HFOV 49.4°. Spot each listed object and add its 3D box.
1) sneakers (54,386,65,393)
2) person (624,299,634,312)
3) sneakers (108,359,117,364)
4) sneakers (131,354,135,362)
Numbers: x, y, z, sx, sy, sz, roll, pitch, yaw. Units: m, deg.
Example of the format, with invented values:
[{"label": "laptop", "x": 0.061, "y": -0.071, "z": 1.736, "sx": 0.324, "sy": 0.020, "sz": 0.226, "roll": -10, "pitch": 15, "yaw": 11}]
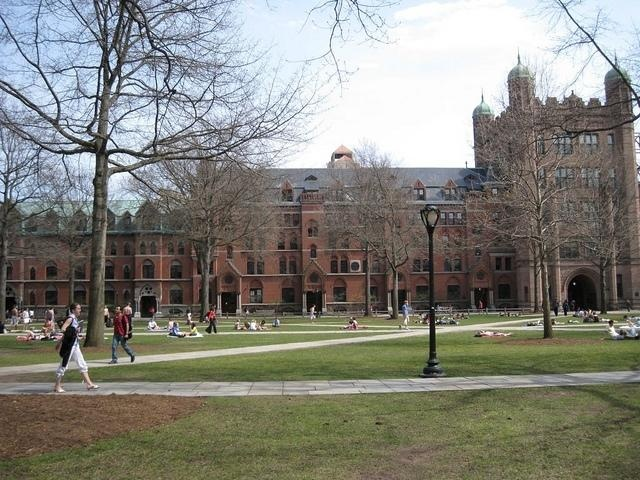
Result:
[{"label": "sneakers", "x": -7.751, "y": 4.454, "z": 20.689, "sx": 0.318, "sy": 0.130, "sz": 0.108, "roll": -9, "pitch": -11, "yaw": 34}, {"label": "person", "x": 31.193, "y": 6.605, "z": 70.310, "sx": 0.560, "sy": 1.690, "sz": 1.420, "roll": -3, "pitch": 2, "yaw": 3}, {"label": "sneakers", "x": -7.801, "y": 4.571, "z": 26.198, "sx": 0.365, "sy": 0.140, "sz": 0.122, "roll": 0, "pitch": -4, "yaw": 25}, {"label": "sneakers", "x": -7.148, "y": 4.545, "z": 26.597, "sx": 0.151, "sy": 0.216, "sz": 0.073, "roll": 4, "pitch": -1, "yaw": 5}]
